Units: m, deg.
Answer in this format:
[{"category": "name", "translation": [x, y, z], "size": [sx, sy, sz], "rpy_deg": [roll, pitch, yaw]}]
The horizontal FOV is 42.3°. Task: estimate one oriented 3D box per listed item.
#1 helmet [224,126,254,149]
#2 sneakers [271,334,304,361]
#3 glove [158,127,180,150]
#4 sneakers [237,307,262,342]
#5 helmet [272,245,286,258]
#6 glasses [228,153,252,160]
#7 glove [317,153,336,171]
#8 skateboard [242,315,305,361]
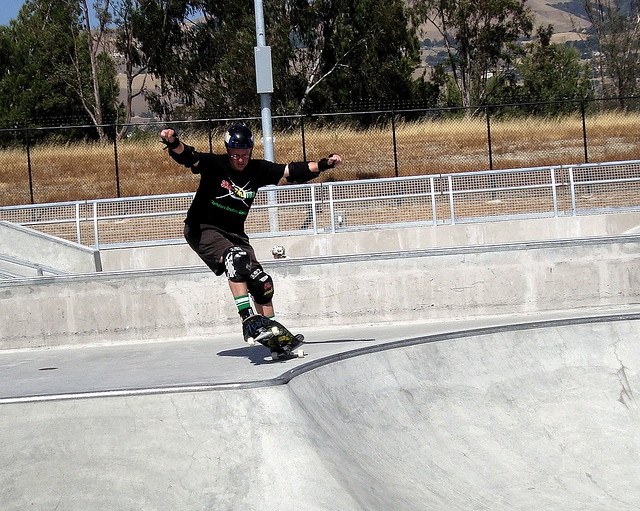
[{"category": "helmet", "translation": [-0.818, -1.205, 8.360], "size": [0.278, 0.230, 0.214], "rpy_deg": [-13, 10, -28]}, {"category": "sneakers", "translation": [-0.323, 0.979, 8.643], "size": [0.208, 0.087, 0.338], "rpy_deg": [-7, 28, 7]}, {"category": "glove", "translation": [-1.518, -1.174, 8.161], "size": [0.094, 0.216, 0.166], "rpy_deg": [29, 68, 34]}, {"category": "sneakers", "translation": [-0.710, 0.706, 8.379], "size": [0.224, 0.302, 0.221], "rpy_deg": [-4, -1, -2]}, {"category": "helmet", "translation": [-0.732, -0.074, 14.723], "size": [0.255, 0.194, 0.182], "rpy_deg": [7, -6, -28]}, {"category": "glasses", "translation": [-0.815, -1.007, 8.412], "size": [0.198, 0.069, 0.127], "rpy_deg": [-6, 5, -15]}, {"category": "glove", "translation": [0.089, -0.968, 8.490], "size": [0.102, 0.101, 0.259], "rpy_deg": [-28, 16, -33]}, {"category": "skateboard", "translation": [-0.481, 0.836, 8.385], "size": [0.387, 0.226, 0.732], "rpy_deg": [-19, 24, -22]}]
